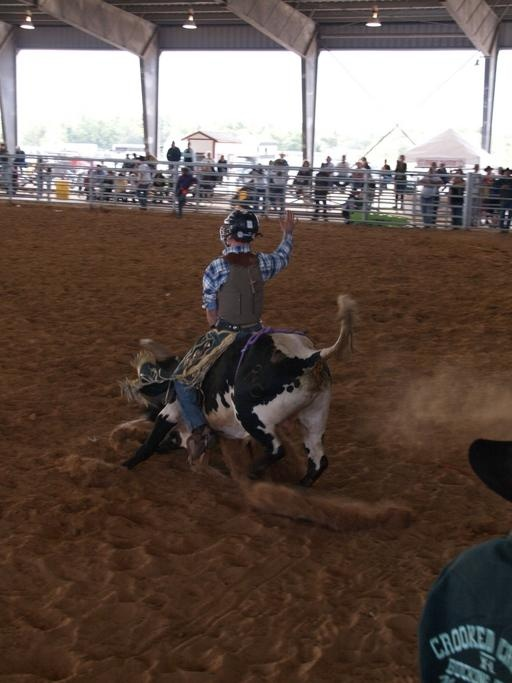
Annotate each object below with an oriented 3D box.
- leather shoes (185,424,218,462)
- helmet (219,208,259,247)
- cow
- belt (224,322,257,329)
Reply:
[{"bbox_3d":[-0.369,0.688,4.025,0.188,0.262,0.114,23,17,4],"label":"leather shoes"},{"bbox_3d":[-0.091,-0.705,3.667,0.221,0.215,0.245,1,19,-28],"label":"helmet"},{"bbox_3d":[-0.173,0.303,3.795,1.709,1.304,0.578,10,12,40],"label":"cow"},{"bbox_3d":[-0.114,-0.098,3.729,0.088,0.032,0.098,-4,6,-42],"label":"belt"}]
